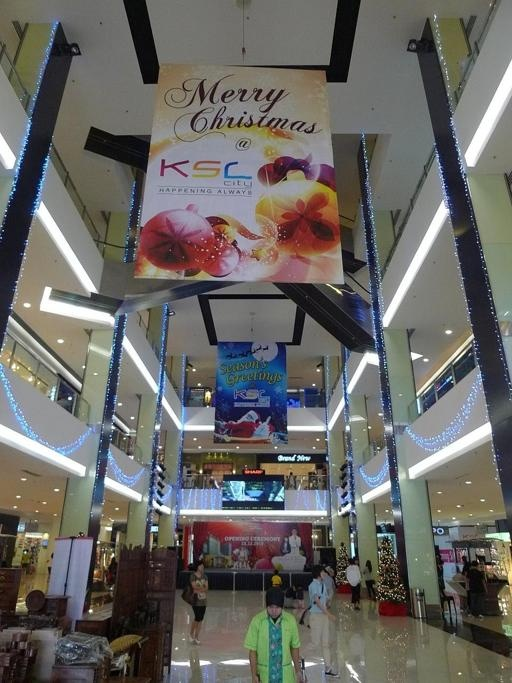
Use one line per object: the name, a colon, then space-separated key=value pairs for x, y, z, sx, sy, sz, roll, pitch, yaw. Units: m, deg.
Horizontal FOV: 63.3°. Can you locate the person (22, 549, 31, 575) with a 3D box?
person: x=-11.343 y=10.870 z=20.598 sx=0.458 sy=1.073 sz=1.470 roll=10 pitch=-27 yaw=-22

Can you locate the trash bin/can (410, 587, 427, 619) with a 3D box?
trash bin/can: x=3.552 y=5.729 z=9.138 sx=0.327 sy=0.558 sz=0.252 roll=-8 pitch=-26 yaw=18

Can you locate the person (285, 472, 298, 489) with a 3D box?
person: x=1.928 y=7.775 z=22.905 sx=0.542 sy=1.107 sz=0.567 roll=1 pitch=-24 yaw=1

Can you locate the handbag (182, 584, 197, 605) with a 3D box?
handbag: x=-1.067 y=3.960 z=6.520 sx=0.173 sy=0.266 sz=0.454 roll=7 pitch=-26 yaw=-16
